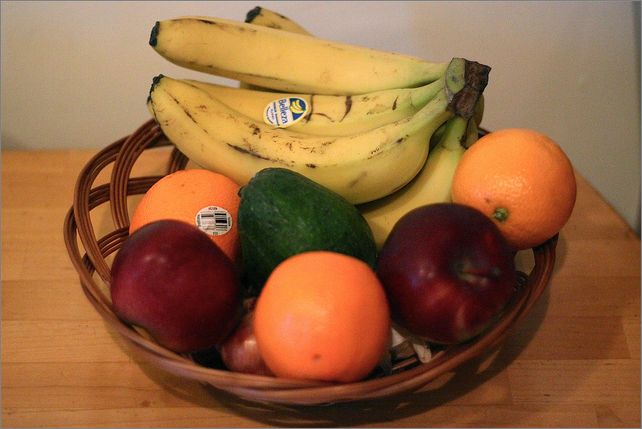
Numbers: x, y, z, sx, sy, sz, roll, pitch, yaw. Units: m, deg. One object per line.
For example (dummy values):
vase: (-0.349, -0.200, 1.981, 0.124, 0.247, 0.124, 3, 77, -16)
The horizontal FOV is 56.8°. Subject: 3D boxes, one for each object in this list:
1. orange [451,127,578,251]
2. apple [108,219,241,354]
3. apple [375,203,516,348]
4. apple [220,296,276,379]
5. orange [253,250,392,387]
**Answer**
orange: (0.396, -0.052, 1.238, 0.223, 0.218, 0.223, 4, 24, 14)
apple: (-0.265, 0.131, 1.067, 0.218, 0.181, 0.162, 23, 43, 21)
apple: (0.228, 0.104, 1.080, 0.243, 0.179, 0.179, 16, 41, 14)
apple: (-0.140, 0.249, 1.143, 0.102, 0.134, 0.131, 6, 28, 7)
orange: (-0.025, 0.146, 1.107, 0.276, 0.197, 0.239, -5, 26, -12)
